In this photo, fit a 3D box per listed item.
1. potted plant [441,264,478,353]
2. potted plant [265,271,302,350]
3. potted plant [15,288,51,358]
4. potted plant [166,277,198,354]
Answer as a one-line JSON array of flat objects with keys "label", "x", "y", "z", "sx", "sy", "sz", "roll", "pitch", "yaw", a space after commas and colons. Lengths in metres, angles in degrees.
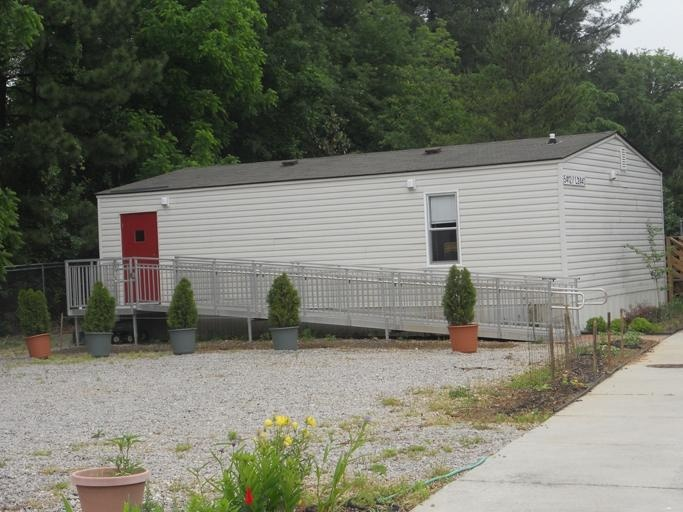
[{"label": "potted plant", "x": 2.649, "y": 1.159, "z": 22.318, "sx": 0.746, "sy": 1.984, "sz": 0.726, "roll": -3, "pitch": -3, "yaw": 7}, {"label": "potted plant", "x": -1.379, "y": 1.292, "z": 23.444, "sx": 0.767, "sy": 1.839, "sz": 0.547, "roll": -2, "pitch": -3, "yaw": 3}, {"label": "potted plant", "x": -7.493, "y": 1.624, "z": 24.313, "sx": 0.819, "sy": 1.734, "sz": 0.692, "roll": -3, "pitch": -4, "yaw": 9}, {"label": "potted plant", "x": -3.808, "y": 1.404, "z": 23.643, "sx": 0.664, "sy": 1.830, "sz": 0.462, "roll": -2, "pitch": -3, "yaw": -3}]
